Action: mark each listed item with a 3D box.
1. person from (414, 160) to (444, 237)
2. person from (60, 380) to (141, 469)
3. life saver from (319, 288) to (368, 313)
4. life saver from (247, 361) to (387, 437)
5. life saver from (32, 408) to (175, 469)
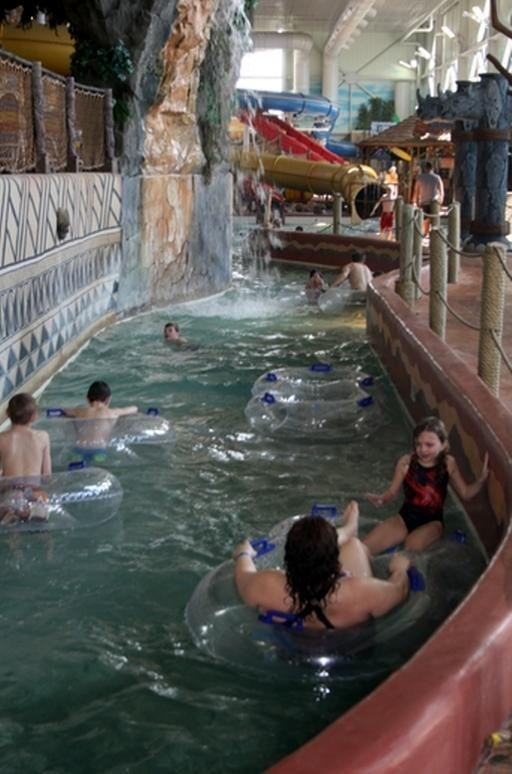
[{"bbox_3d":[3.677,-3.997,12.163,0.520,1.537,0.419,5,27,24],"label":"person"},{"bbox_3d":[-1.119,0.380,3.972,0.817,0.343,0.781,-3,-20,29],"label":"person"},{"bbox_3d":[1.321,-1.338,8.778,0.480,0.202,0.505,2,21,5],"label":"life saver"},{"bbox_3d":[0.452,0.077,4.706,1.055,0.378,1.149,0,12,10],"label":"life saver"},{"bbox_3d":[-1.012,0.364,3.930,0.839,0.387,0.785,-1,16,-11],"label":"life saver"}]
